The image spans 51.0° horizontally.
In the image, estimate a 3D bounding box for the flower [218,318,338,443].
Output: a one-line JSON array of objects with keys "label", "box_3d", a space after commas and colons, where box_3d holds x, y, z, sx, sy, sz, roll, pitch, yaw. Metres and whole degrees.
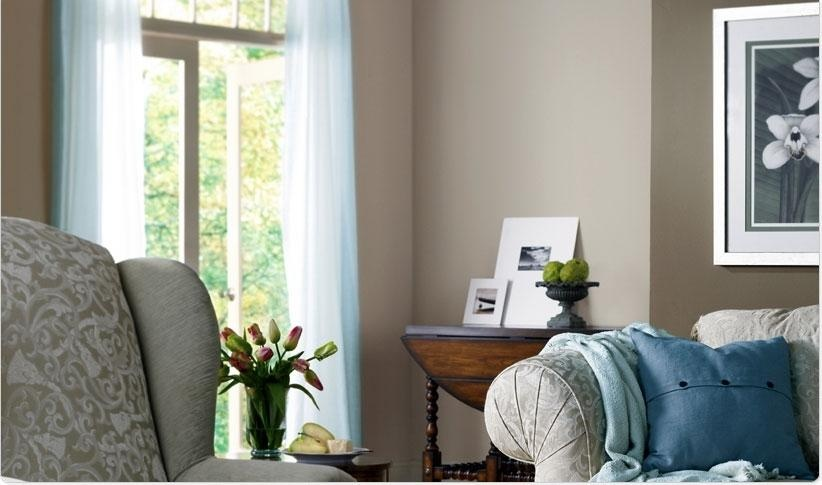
[{"label": "flower", "box_3d": [-0.723, 0.644, 4.256, 0.590, 0.627, 0.616, -1, -4, 29]}]

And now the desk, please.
[{"label": "desk", "box_3d": [0.525, 0.797, 4.354, 1.069, 0.909, 0.420, 0, 2, 19]}]

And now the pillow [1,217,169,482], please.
[{"label": "pillow", "box_3d": [-1.257, 0.398, 3.224, 0.262, 0.987, 0.732, -14, -10, 43]}]

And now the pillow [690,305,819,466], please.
[{"label": "pillow", "box_3d": [1.718, 0.648, 3.986, 0.675, 0.653, 0.210, -1, -9, 20]}]

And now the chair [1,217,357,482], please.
[{"label": "chair", "box_3d": [-0.978, 0.442, 3.881, 1.230, 1.359, 1.048, 1, -7, 4]}]

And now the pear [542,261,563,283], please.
[{"label": "pear", "box_3d": [0.813, 0.164, 5.011, 0.102, 0.127, 0.093, 9, 17, -16]}]

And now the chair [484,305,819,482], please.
[{"label": "chair", "box_3d": [1.116, 0.657, 3.937, 1.596, 0.723, 0.499, 0, 2, -11]}]

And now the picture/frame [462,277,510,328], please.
[{"label": "picture/frame", "box_3d": [0.476, 0.372, 5.323, 0.300, 0.354, 0.015, -7, -32, 38]}]
